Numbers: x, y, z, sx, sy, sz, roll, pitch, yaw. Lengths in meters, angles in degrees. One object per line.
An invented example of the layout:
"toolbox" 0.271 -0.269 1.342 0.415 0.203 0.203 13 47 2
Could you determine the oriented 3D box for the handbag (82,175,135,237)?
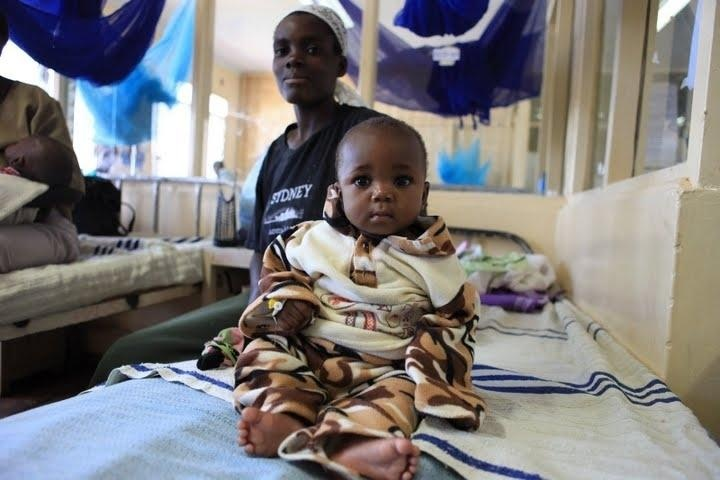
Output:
"handbag" -1.464 -0.204 2.992 0.363 0.347 0.251 -2 15 -11
